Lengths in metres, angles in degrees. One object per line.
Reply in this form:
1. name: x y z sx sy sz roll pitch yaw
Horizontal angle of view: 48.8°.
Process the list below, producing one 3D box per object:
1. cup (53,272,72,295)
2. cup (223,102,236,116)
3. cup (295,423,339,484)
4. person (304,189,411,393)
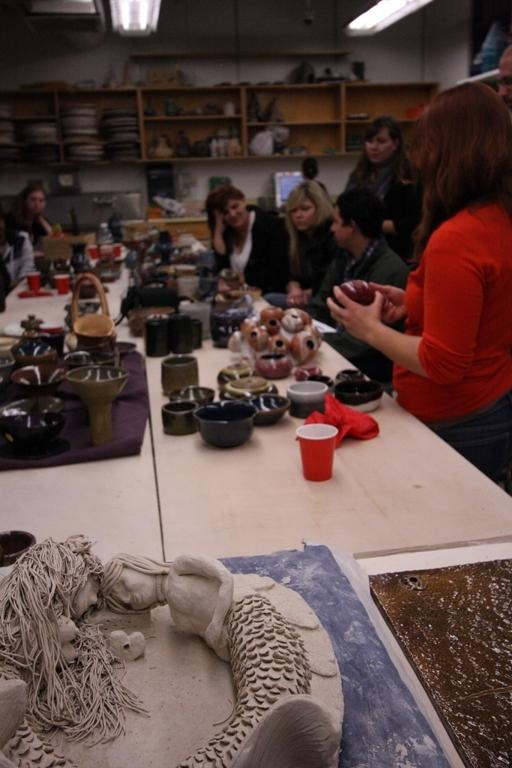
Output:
1. cup: -1.244 -0.659 3.686 0.138 0.155 0.143 1 19 0
2. cup: -0.328 -3.406 6.985 0.152 0.210 0.282 -4 17 0
3. cup: 0.130 0.140 1.192 0.105 0.112 0.109 -1 13 0
4. person: 0.422 -0.485 2.527 0.489 0.786 0.511 9 -9 -24
